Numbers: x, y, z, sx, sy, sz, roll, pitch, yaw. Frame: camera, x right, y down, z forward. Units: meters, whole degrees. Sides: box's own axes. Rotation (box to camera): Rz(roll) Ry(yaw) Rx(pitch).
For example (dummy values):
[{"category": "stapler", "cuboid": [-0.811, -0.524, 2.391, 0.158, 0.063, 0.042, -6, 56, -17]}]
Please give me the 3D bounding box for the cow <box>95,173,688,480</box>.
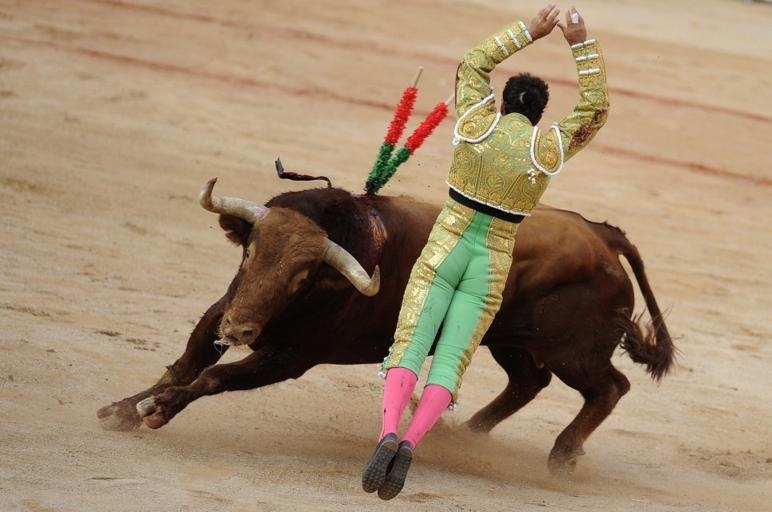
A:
[{"category": "cow", "cuboid": [0.057, 0.365, 11.869, 5.148, 2.017, 1.986, 5, 12, -15]}]
